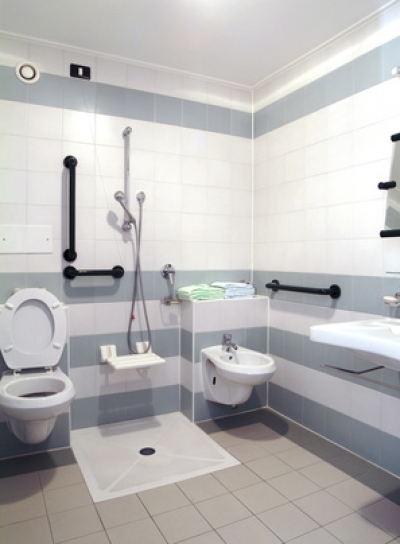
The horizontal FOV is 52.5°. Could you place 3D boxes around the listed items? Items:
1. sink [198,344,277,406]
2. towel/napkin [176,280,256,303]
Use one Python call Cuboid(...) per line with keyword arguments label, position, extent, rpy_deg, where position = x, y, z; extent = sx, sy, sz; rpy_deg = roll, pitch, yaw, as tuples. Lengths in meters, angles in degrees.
Cuboid(label="sink", position=(0.227, 0.668, 2.435), extent=(0.296, 0.374, 0.444), rpy_deg=(-3, 8, -20))
Cuboid(label="towel/napkin", position=(0.111, 0.135, 2.776), extent=(0.532, 0.118, 0.230), rpy_deg=(0, 1, -32))
